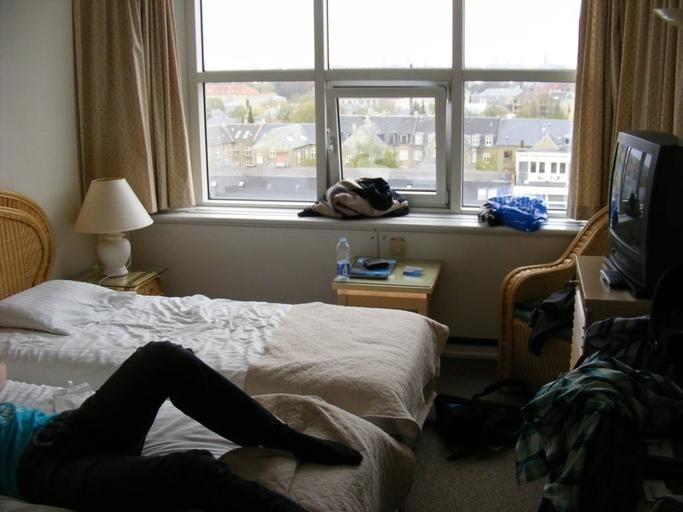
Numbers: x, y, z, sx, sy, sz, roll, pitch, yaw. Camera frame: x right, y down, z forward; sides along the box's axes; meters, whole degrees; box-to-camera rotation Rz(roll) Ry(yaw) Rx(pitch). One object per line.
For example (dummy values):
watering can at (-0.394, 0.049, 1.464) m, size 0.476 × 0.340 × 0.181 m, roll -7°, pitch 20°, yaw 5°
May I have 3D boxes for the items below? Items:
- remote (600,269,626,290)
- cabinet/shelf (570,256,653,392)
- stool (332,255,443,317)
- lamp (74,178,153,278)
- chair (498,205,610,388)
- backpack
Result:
remote at (1.198, 0.100, 2.464) m, size 0.059 × 0.027 × 0.128 m, roll 0°, pitch 20°, yaw 9°
cabinet/shelf at (1.196, 0.402, 2.602) m, size 0.173 × 0.520 × 0.529 m, roll -4°, pitch 6°, yaw 15°
stool at (0.319, 0.170, 3.711) m, size 0.421 × 0.440 × 0.444 m, roll 1°, pitch 13°, yaw 8°
lamp at (-1.580, -0.208, 3.855) m, size 0.506 × 0.651 × 0.529 m, roll 2°, pitch 11°, yaw 8°
chair at (1.236, 0.212, 3.802) m, size 0.900 × 1.459 × 0.824 m, roll 0°, pitch 7°, yaw 14°
backpack at (0.741, 0.859, 3.143) m, size 0.465 × 0.486 × 0.344 m, roll 0°, pitch -4°, yaw 9°
